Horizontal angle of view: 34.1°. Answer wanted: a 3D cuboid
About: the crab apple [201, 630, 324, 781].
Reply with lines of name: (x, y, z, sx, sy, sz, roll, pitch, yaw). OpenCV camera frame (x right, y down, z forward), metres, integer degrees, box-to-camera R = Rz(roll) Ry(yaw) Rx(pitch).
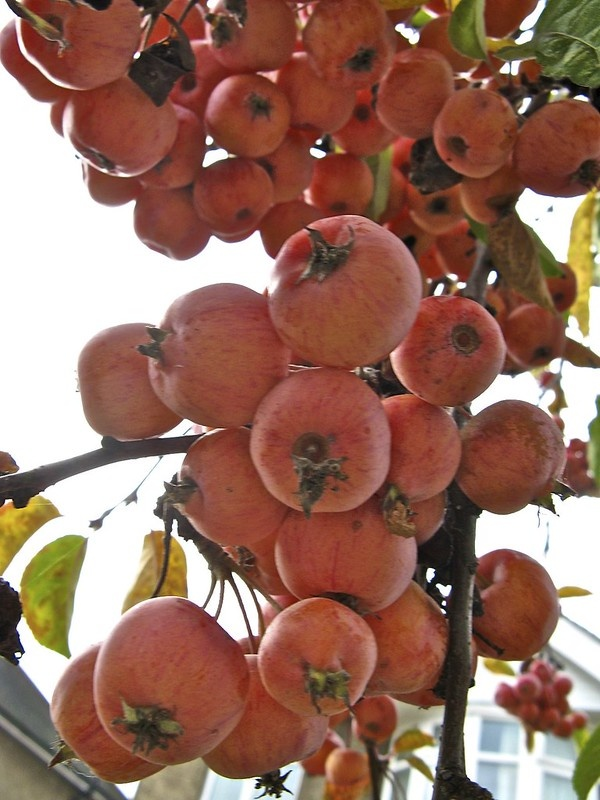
crab apple: (-0.036, 0.329, 1.042, 0.150, 0.116, 0.127, -8, 13, -19)
